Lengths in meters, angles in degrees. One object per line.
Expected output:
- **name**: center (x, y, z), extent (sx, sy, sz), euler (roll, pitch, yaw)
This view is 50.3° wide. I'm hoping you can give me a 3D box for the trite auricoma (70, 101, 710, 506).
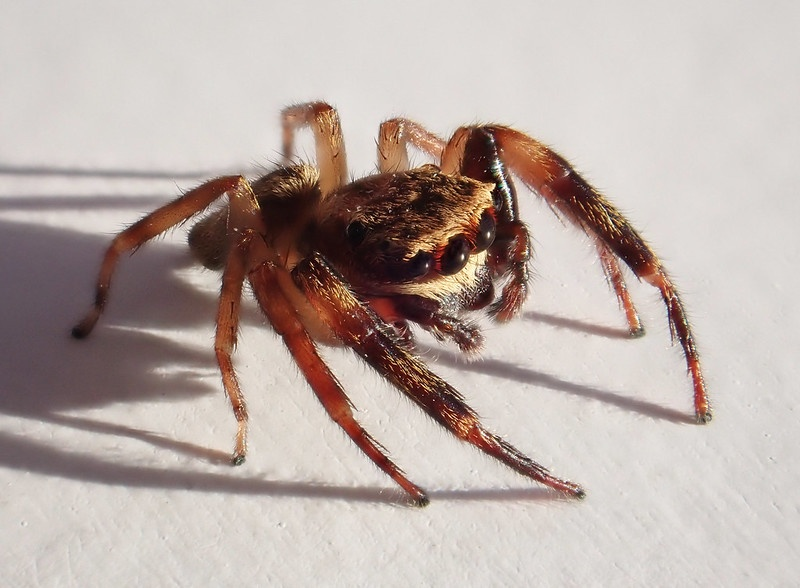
- **trite auricoma**: center (0.007, -0.033, 1.782), extent (1.118, 0.615, 0.779), euler (23, 33, 24)
